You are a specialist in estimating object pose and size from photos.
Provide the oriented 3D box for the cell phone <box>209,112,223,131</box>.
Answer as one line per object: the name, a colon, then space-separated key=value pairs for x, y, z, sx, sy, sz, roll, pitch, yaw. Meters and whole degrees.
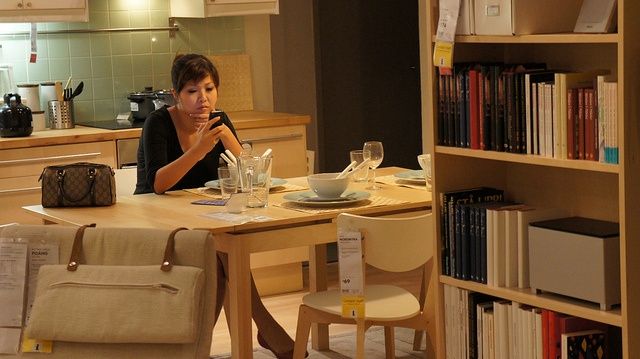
cell phone: x=-0.660 y=-0.380 z=3.564 sx=0.081 sy=0.101 sz=0.205 roll=-4 pitch=12 yaw=-8

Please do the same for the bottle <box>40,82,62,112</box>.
bottle: x=-2.354 y=-0.719 z=4.908 sx=0.256 sy=0.250 sz=0.112 roll=3 pitch=13 yaw=25

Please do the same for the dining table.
dining table: x=-0.409 y=0.244 z=3.176 sx=1.154 sy=0.805 sz=1.682 roll=11 pitch=15 yaw=43

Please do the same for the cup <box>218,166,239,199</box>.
cup: x=-0.527 y=0.013 z=3.355 sx=0.168 sy=0.253 sz=0.166 roll=1 pitch=5 yaw=0

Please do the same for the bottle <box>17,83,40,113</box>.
bottle: x=-2.444 y=-0.678 z=4.776 sx=0.224 sy=0.326 sz=0.236 roll=0 pitch=3 yaw=0

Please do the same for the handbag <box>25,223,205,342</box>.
handbag: x=-0.880 y=0.442 z=2.473 sx=0.690 sy=0.464 sz=0.333 roll=2 pitch=5 yaw=-5

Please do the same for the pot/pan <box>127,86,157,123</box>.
pot/pan: x=-1.589 y=-0.670 z=5.058 sx=0.256 sy=0.264 sz=0.360 roll=4 pitch=4 yaw=9

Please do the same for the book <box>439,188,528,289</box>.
book: x=0.811 y=0.214 z=2.835 sx=0.378 sy=0.484 sz=0.515 roll=5 pitch=8 yaw=38

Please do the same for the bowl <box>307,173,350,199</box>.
bowl: x=0.050 y=0.043 z=3.264 sx=0.260 sy=0.130 sz=0.257 roll=-1 pitch=8 yaw=0
